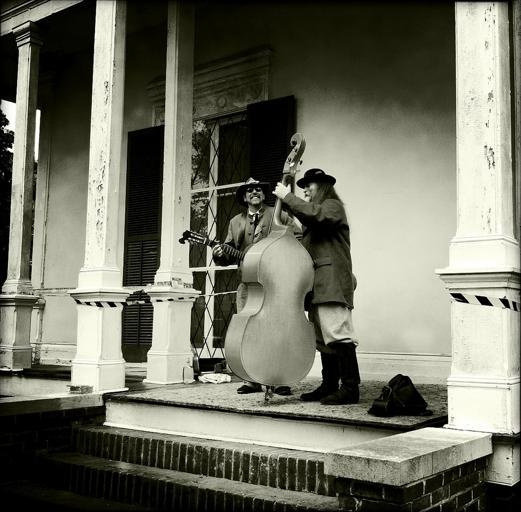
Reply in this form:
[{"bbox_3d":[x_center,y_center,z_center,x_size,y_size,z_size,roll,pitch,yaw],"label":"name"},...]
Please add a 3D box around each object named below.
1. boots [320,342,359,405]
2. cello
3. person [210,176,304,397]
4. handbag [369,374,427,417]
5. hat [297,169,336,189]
[{"bbox_3d":[0.537,0.798,6.240,0.253,0.412,0.246,1,-11,4],"label":"boots"},{"bbox_3d":[0.072,0.267,6.091,0.588,1.143,0.297,1,-11,2],"label":"cello"},{"bbox_3d":[-0.080,0.180,7.229,0.229,1.521,0.599,4,6,27],"label":"person"},{"bbox_3d":[0.854,0.874,5.784,0.284,0.122,0.221,3,-5,-27],"label":"handbag"},{"bbox_3d":[0.396,-0.569,6.526,0.178,0.067,0.158,-2,-18,-26],"label":"hat"}]
